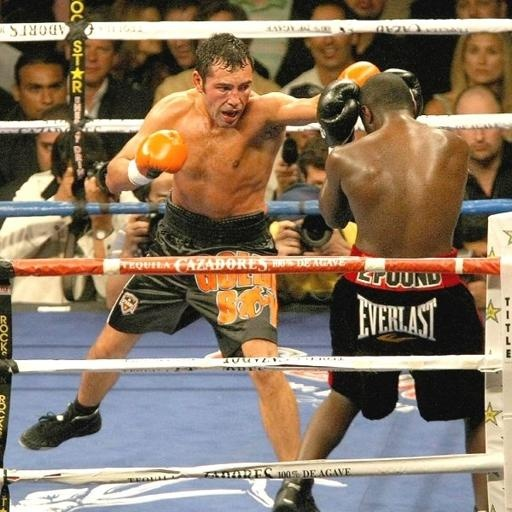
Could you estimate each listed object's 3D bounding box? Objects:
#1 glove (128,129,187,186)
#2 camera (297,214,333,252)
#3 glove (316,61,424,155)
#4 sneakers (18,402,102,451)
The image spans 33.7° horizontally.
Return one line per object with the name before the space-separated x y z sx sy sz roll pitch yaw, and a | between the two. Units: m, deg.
glove | -0.349 -0.358 2.925 0.158 0.200 0.291 4 -5 -23
camera | 0.342 -0.143 4.922 0.199 0.180 0.090 -1 -2 2
glove | 0.309 -0.539 2.847 0.353 0.137 0.386 -4 -21 -19
sneakers | -0.756 0.652 3.366 0.404 0.139 0.125 -8 33 -27
